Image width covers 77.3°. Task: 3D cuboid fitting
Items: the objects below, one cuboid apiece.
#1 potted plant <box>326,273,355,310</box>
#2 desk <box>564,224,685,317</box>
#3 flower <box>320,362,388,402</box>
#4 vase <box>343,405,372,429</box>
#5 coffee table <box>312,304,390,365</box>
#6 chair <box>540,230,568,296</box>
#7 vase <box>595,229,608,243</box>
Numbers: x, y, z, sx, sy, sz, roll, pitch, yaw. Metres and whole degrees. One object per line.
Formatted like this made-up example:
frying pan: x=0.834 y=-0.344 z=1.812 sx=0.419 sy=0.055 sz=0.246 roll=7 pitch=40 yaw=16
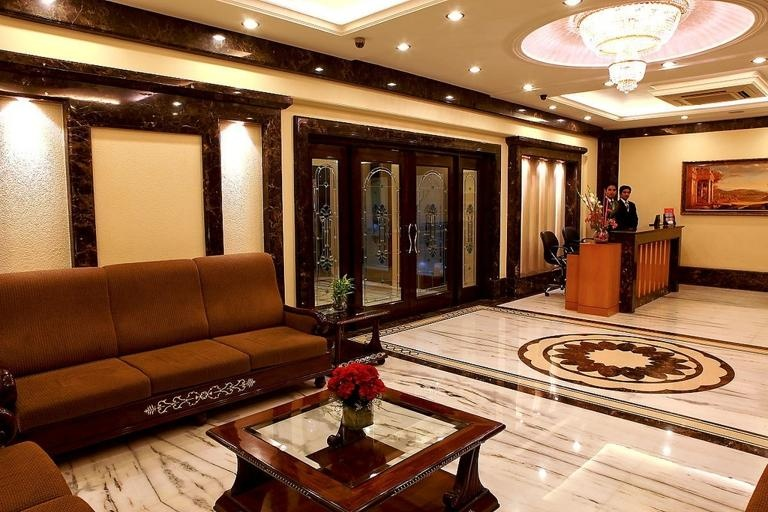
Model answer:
potted plant: x=-0.493 y=0.402 z=5.728 sx=0.472 sy=0.421 sz=0.367 roll=2 pitch=10 yaw=4
desk: x=4.406 y=0.197 z=8.779 sx=3.028 sy=1.314 sz=1.154 roll=-5 pitch=4 yaw=-44
flower: x=-0.222 y=0.909 z=3.555 sx=0.343 sy=0.262 sz=0.312 roll=2 pitch=8 yaw=30
vase: x=-0.183 y=1.163 z=3.550 sx=0.193 sy=0.124 sz=0.193 roll=1 pitch=1 yaw=35
coffee table: x=-0.510 y=0.981 z=5.743 sx=0.808 sy=0.533 sz=0.787 roll=-5 pitch=6 yaw=-44
chair: x=3.467 y=0.110 z=9.366 sx=0.801 sy=1.140 sz=0.769 roll=2 pitch=5 yaw=31
vase: x=3.489 y=-0.323 z=7.736 sx=0.215 sy=0.182 sz=0.202 roll=0 pitch=3 yaw=-2
